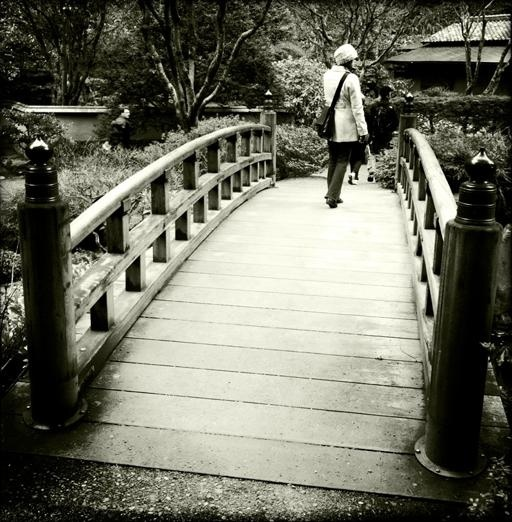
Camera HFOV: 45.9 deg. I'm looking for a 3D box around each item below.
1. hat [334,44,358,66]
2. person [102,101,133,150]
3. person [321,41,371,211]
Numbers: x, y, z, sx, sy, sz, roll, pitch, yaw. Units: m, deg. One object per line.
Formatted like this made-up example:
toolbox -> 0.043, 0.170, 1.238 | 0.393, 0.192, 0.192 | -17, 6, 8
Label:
hat -> 0.881, -2.032, 6.000 | 0.202, 0.196, 0.294 | 1, 18, 7
person -> -2.664, -2.584, 12.147 | 0.602, 0.920, 0.508 | 17, 0, -12
person -> 0.886, -1.315, 6.073 | 0.401, 1.603, 0.554 | -4, 18, -10
